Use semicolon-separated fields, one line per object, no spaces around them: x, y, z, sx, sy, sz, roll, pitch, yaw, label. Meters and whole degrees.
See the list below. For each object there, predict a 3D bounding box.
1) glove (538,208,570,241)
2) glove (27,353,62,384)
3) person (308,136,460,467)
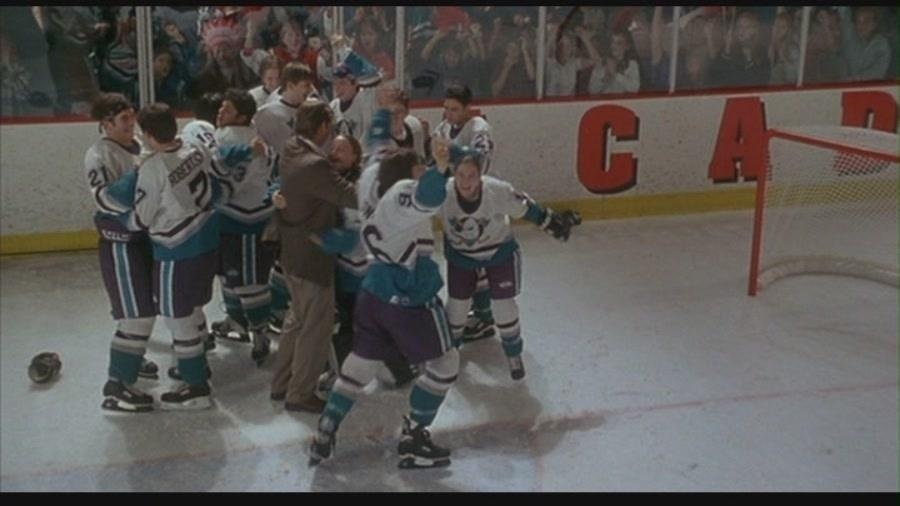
1.066;-0.248;8.272;0.366;0.157;0.223;21;36;-38;glove
-4.112;1.165;8.744;0.307;0.325;0.269;17;-34;-21;glove
-0.546;0.557;7.802;1.240;2.886;0.816;-5;19;-1;person
